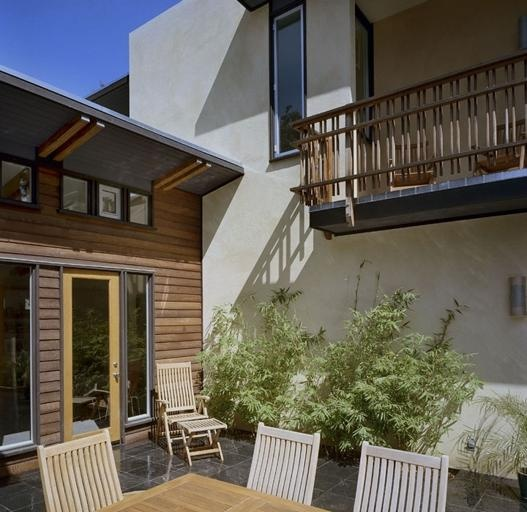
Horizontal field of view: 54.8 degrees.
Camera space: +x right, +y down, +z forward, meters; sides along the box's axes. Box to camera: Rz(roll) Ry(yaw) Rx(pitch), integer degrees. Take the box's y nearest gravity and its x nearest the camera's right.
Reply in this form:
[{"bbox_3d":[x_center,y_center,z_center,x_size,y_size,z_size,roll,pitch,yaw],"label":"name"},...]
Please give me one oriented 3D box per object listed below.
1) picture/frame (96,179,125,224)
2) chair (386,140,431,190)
[{"bbox_3d":[-2.053,-0.712,6.755,0.018,0.533,0.529,-3,-6,32],"label":"picture/frame"},{"bbox_3d":[1.729,-1.106,5.981,0.354,0.280,0.537,-2,-2,31],"label":"chair"}]
